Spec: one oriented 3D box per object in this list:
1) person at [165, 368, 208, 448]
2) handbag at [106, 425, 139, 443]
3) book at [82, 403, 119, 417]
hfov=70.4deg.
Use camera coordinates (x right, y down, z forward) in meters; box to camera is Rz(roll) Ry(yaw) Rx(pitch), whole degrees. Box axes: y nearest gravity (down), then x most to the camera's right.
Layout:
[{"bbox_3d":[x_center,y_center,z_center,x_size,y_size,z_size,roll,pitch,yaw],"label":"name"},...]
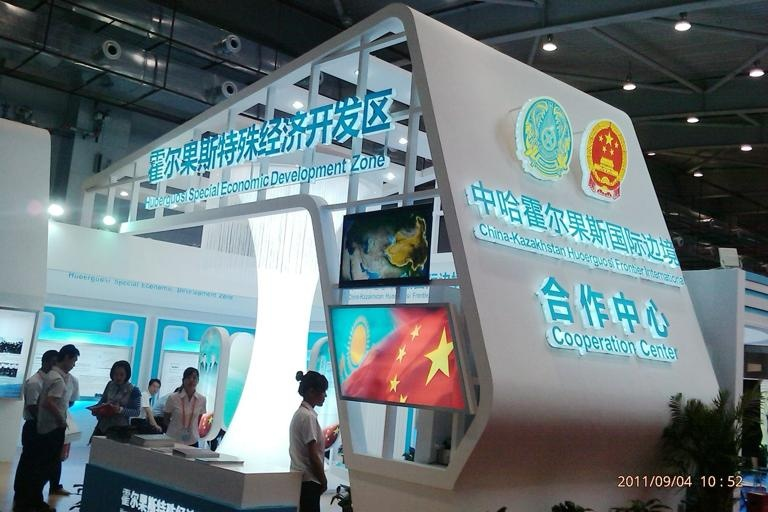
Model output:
[{"bbox_3d":[-2.645,2.003,7.163,0.478,1.044,0.891,6,-12,-12],"label":"person"},{"bbox_3d":[-2.617,1.751,5.380,0.188,0.092,0.203,0,-7,45],"label":"handbag"},{"bbox_3d":[-3.301,1.816,6.436,0.288,0.125,0.199,8,-13,-22],"label":"book"}]
